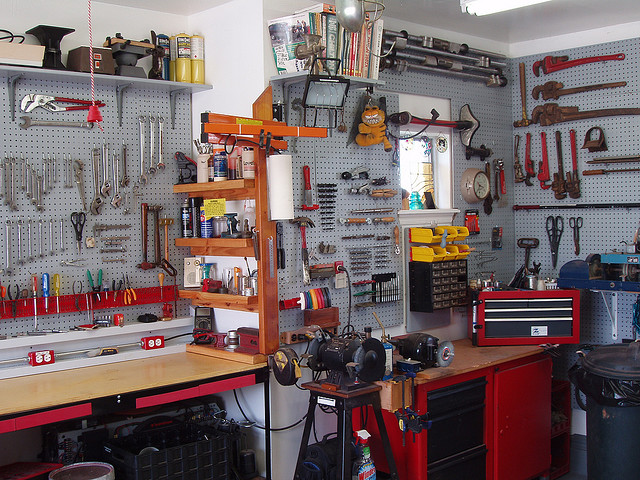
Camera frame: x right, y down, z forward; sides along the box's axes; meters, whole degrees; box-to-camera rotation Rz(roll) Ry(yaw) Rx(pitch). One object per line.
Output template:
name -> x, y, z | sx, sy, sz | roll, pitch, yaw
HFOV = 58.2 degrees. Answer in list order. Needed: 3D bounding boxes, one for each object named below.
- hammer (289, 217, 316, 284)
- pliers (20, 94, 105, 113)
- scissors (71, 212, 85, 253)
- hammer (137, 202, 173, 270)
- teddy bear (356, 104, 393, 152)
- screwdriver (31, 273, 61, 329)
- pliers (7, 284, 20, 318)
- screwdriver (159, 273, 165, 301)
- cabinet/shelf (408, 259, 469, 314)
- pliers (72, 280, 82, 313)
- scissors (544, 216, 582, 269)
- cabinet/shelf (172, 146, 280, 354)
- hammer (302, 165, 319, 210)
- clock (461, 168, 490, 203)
hammer -> -0.113, 0.076, 4.159 | 0.197, 0.496, 0.056 | 1, -9, -31
pliers -> -1.787, -0.926, 3.919 | 0.440, 0.127, 0.092 | -5, 4, -30
scissors -> -1.677, -0.048, 4.037 | 0.111, 0.297, 0.042 | -4, 4, -24
hammer -> -1.233, -0.020, 4.322 | 0.270, 0.510, 0.072 | -5, 4, -42
teddy bear -> 0.421, -0.844, 4.433 | 0.182, 0.364, 0.203 | -4, 7, -44
screwdriver -> -1.838, 0.417, 3.891 | 0.176, 0.374, 0.094 | -4, 4, -28
pliers -> -2.010, 0.412, 3.795 | 0.059, 0.205, 0.057 | -1, 3, 15
screwdriver -> -1.185, 0.358, 4.349 | 0.040, 0.207, 0.102 | -3, 4, -16
cabinet/shelf -> 0.961, 0.385, 4.680 | 0.478, 0.431, 0.258 | -2, 4, 6
pliers -> -1.676, 0.404, 4.010 | 0.066, 0.221, 0.055 | -4, 4, -24
scissors -> 2.341, 0.028, 5.529 | 0.330, 0.516, 0.128 | -1, 4, 25
cabinet/shelf -> -0.594, 0.078, 4.048 | 0.784, 1.377, 0.271 | 1, 5, 43
hammer -> -0.065, -0.379, 4.135 | 0.153, 0.291, 0.073 | -4, 4, -4
clock -> 1.433, -0.506, 5.373 | 0.122, 0.309, 0.296 | -4, -9, 45
